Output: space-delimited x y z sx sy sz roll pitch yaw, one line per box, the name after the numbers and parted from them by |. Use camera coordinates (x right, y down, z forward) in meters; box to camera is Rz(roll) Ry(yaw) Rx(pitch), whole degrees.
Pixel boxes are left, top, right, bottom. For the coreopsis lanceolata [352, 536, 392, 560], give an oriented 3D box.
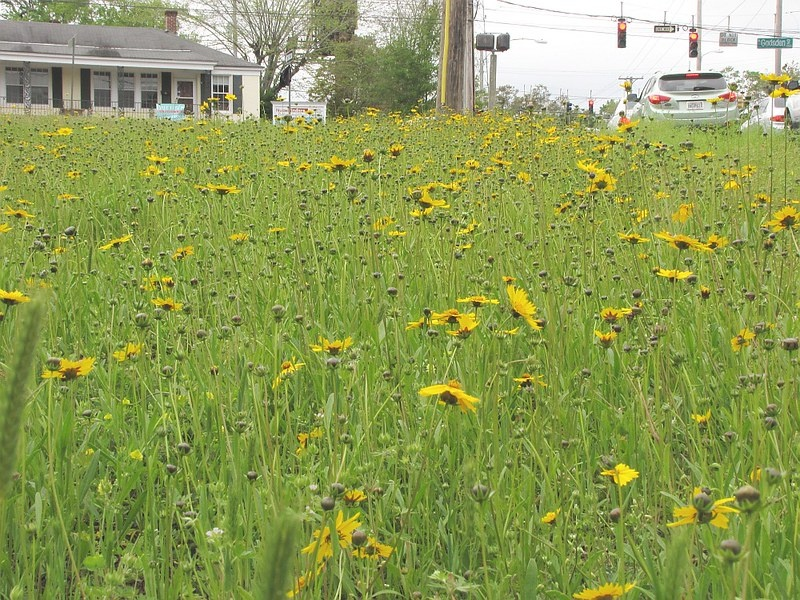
-0.082 0.717 2.487 0.096 0.060 0.105 4 -1 22 | coreopsis lanceolata

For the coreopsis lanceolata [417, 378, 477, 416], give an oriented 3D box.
0.138 0.303 2.450 0.125 0.085 0.139 15 -5 -11 | coreopsis lanceolata

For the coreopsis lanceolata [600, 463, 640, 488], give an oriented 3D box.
0.687 0.542 2.681 0.102 0.047 0.118 10 28 27 | coreopsis lanceolata

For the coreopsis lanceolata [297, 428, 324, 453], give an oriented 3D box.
-0.309 0.468 2.893 0.076 0.042 0.087 -3 11 11 | coreopsis lanceolata

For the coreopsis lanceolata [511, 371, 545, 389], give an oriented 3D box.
0.449 0.289 3.059 0.092 0.049 0.098 3 3 34 | coreopsis lanceolata
